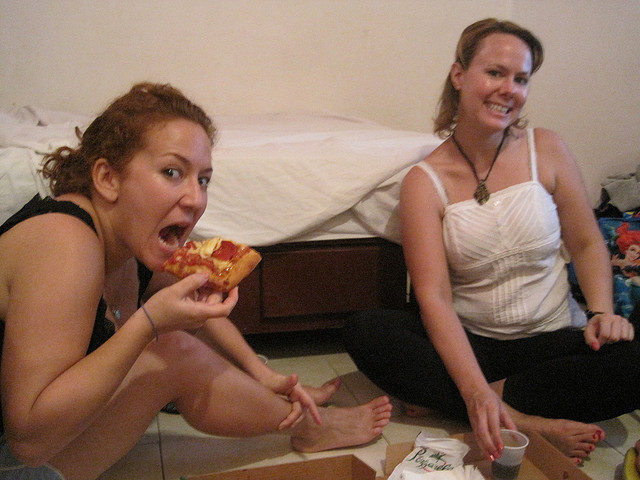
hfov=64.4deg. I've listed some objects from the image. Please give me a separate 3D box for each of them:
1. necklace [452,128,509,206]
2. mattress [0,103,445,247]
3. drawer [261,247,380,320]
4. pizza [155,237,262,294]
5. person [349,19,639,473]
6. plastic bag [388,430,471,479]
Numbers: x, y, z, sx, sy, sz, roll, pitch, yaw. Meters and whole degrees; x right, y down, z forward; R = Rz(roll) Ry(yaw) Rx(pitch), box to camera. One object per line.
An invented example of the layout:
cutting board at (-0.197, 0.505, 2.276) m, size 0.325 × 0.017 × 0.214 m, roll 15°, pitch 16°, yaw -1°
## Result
necklace at (0.495, -0.231, 1.565) m, size 0.158 × 0.298 × 0.023 m, roll -4°, pitch 38°, yaw 13°
mattress at (-0.157, -0.287, 2.413) m, size 1.151 × 0.317 × 1.168 m, roll 0°, pitch 16°, yaw -9°
drawer at (0.006, 0.152, 1.915) m, size 0.396 × 0.212 × 0.278 m, roll -2°, pitch 9°, yaw -10°
pizza at (-0.248, 0.046, 1.140) m, size 0.160 × 0.054 × 0.143 m, roll 20°, pitch 43°, yaw 12°
person at (0.571, -0.035, 1.520) m, size 0.682 × 1.269 × 0.722 m, roll -6°, pitch 12°, yaw -41°
plastic bag at (0.260, 0.520, 1.195) m, size 0.117 × 0.059 × 0.186 m, roll 10°, pitch 12°, yaw 39°
